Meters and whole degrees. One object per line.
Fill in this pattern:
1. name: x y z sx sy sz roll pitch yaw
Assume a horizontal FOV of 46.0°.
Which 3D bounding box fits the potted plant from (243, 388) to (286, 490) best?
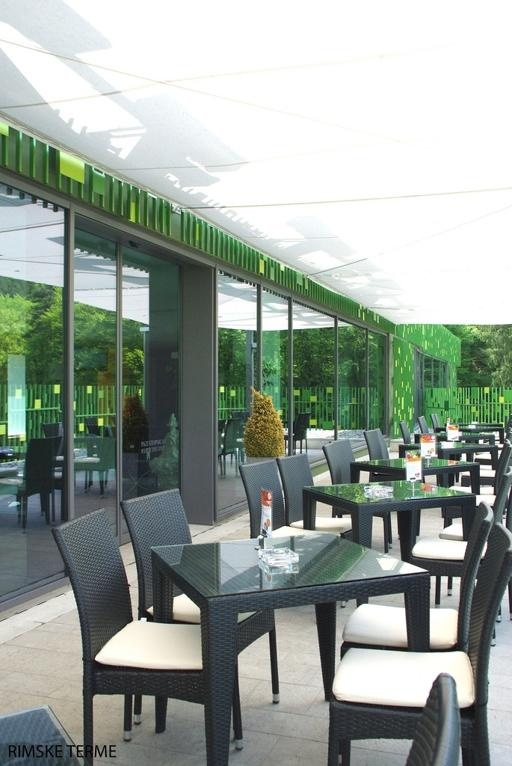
1. potted plant: 0.088 0.502 7.183 0.459 0.799 0.490 -3 -8 9
